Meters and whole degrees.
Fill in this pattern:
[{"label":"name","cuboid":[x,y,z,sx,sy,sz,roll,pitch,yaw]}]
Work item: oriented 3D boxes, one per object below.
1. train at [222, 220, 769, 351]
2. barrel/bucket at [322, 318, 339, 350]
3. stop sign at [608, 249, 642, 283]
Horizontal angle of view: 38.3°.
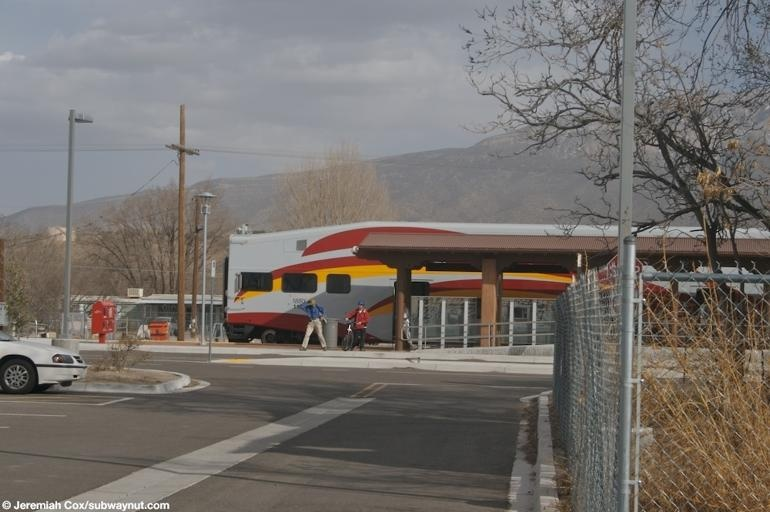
[{"label":"train","cuboid":[2.870,0.813,32.719,18.805,4.535,4.346,1,2,11]},{"label":"barrel/bucket","cuboid":[-1.983,2.824,40.565,0.897,1.408,0.911,0,-1,0]},{"label":"stop sign","cuboid":[3.447,0.151,15.908,0.488,0.712,0.699,-1,0,0]}]
